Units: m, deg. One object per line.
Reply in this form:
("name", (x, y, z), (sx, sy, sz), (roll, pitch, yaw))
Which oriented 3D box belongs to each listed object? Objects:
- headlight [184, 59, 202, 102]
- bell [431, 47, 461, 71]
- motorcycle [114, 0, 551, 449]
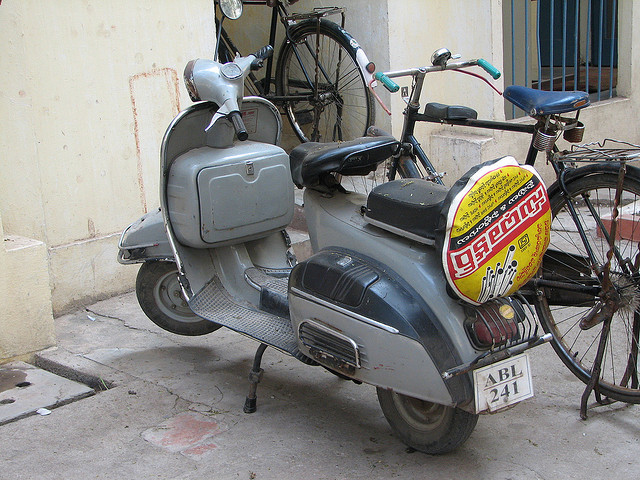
("headlight", (-0.681, -0.852, 3.461), (0.083, 0.195, 0.143), (2, 14, 5))
("bell", (0.814, -1.127, 4.062), (0.211, 0.128, 0.139), (-2, 22, -15))
("motorcycle", (0.091, 0.038, 3.170), (1.912, 1.802, 0.719), (12, 21, 38))
